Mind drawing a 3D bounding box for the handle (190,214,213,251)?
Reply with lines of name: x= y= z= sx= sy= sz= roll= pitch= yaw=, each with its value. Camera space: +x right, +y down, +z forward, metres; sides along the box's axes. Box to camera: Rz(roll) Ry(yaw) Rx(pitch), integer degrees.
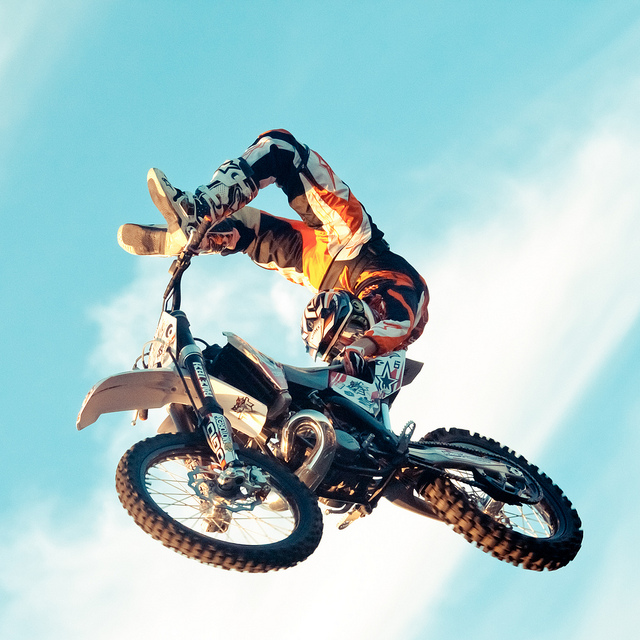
handle: x=-0.952 y=-0.732 z=8.879 sx=0.378 sy=0.086 sz=0.102 roll=-57 pitch=-48 yaw=-30
